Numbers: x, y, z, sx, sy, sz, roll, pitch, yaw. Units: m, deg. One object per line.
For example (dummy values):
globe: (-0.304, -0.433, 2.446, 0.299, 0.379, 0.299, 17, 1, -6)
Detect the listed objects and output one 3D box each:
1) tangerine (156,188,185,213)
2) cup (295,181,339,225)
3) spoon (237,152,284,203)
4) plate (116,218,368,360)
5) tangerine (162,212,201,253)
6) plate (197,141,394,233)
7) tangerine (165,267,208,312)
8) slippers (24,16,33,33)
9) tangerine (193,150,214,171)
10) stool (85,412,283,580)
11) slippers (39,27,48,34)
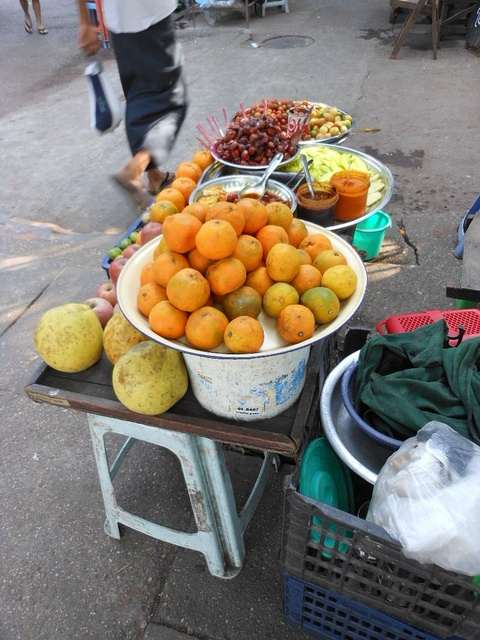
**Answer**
tangerine: (-0.279, -0.514, 2.167, 0.119, 0.128, 0.114, -4, 33, -3)
cup: (0.319, -0.484, 2.291, 0.216, 0.196, 0.205, -4, 44, 4)
spoon: (0.078, -0.581, 2.115, 0.164, 0.146, 0.408, 1, 37, 7)
plate: (0.001, -0.101, 1.551, 0.746, 0.360, 0.694, 4, 32, 9)
tangerine: (-0.162, -0.236, 1.414, 0.105, 0.111, 0.103, -3, 37, 2)
plate: (0.512, -0.776, 2.602, 0.766, 0.121, 0.730, -4, 46, -1)
tangerine: (-0.134, -0.081, 1.354, 0.118, 0.108, 0.114, 3, 5, -14)
slippers: (-3.709, -5.201, 8.973, 0.111, 0.269, 0.075, -8, -2, 34)
tangerine: (-0.207, -0.877, 2.880, 0.130, 0.118, 0.122, 9, 41, 1)
stool: (-0.248, 0.503, 2.226, 0.749, 0.682, 0.720, 9, 33, 19)
slippers: (-3.433, -5.043, 8.902, 0.087, 0.056, 0.169, -31, 77, -21)
